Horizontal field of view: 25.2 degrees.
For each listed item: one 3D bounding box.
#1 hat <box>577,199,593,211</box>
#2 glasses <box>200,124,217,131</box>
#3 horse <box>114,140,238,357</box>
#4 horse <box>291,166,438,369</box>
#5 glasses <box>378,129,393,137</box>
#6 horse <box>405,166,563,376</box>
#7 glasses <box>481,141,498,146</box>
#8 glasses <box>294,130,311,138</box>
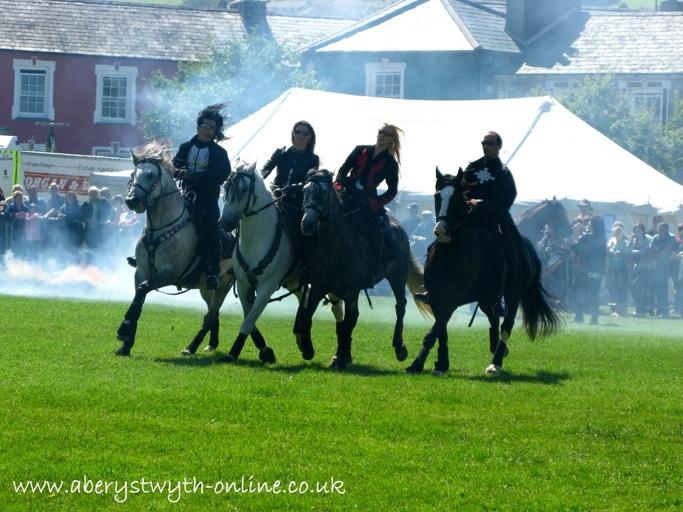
[{"bbox_3d":[7.543,-1.544,47.438,0.336,0.188,0.392,10,-14,23],"label":"hat"},{"bbox_3d":[-3.373,-3.235,38.526,0.487,0.215,0.164,4,1,-20],"label":"glasses"},{"bbox_3d":[-4.385,0.329,40.345,2.486,5.141,8.495,2,-6,12],"label":"horse"},{"bbox_3d":[0.323,0.278,37.994,2.645,5.081,1.886,1,0,6],"label":"horse"},{"bbox_3d":[1.092,-3.032,37.873,0.228,0.068,0.184,12,-7,-44],"label":"glasses"},{"bbox_3d":[3.513,0.473,37.848,3.374,4.943,1.386,4,1,-38],"label":"horse"},{"bbox_3d":[3.605,-2.767,37.653,0.345,0.129,0.129,5,1,39],"label":"glasses"},{"bbox_3d":[-0.991,-3.054,38.197,0.375,0.175,0.083,4,1,-5],"label":"glasses"}]
